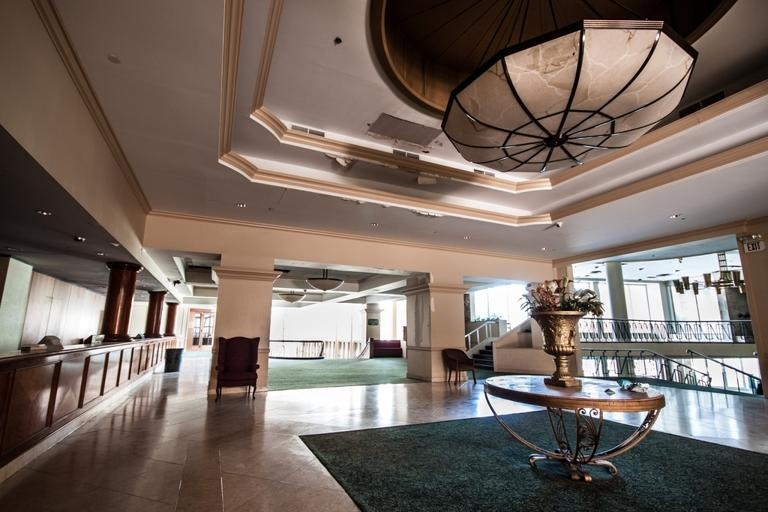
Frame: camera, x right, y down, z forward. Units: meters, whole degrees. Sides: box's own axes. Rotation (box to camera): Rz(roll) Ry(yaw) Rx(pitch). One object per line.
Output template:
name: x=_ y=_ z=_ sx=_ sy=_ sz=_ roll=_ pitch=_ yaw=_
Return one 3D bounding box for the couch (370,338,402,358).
couch: x=0.143 y=4.937 z=21.492 sx=1.787 sy=0.840 sz=0.910 roll=1 pitch=-4 yaw=-6

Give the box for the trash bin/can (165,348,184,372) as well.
trash bin/can: x=-6.996 y=3.516 z=13.422 sx=0.736 sy=0.739 sz=0.709 roll=0 pitch=-20 yaw=-3

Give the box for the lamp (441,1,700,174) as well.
lamp: x=2.405 y=-2.121 z=5.030 sx=2.554 sy=0.516 sz=2.336 roll=5 pitch=-30 yaw=-17

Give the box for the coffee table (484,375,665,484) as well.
coffee table: x=2.382 y=2.019 z=5.025 sx=1.793 sy=0.818 sz=1.727 roll=3 pitch=-6 yaw=-11

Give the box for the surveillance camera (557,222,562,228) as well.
surveillance camera: x=4.382 y=-0.776 z=9.969 sx=0.114 sy=0.078 sz=0.112 roll=-3 pitch=-4 yaw=29

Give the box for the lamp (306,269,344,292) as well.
lamp: x=-2.360 y=1.117 z=16.236 sx=1.286 sy=0.759 sz=1.195 roll=1 pitch=-8 yaw=4

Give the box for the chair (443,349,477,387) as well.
chair: x=1.952 y=3.058 z=11.053 sx=1.080 sy=1.140 sz=0.997 roll=6 pitch=-20 yaw=-19

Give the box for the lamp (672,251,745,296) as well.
lamp: x=12.996 y=0.641 z=15.967 sx=2.107 sy=0.910 sz=2.100 roll=-10 pitch=-15 yaw=37
